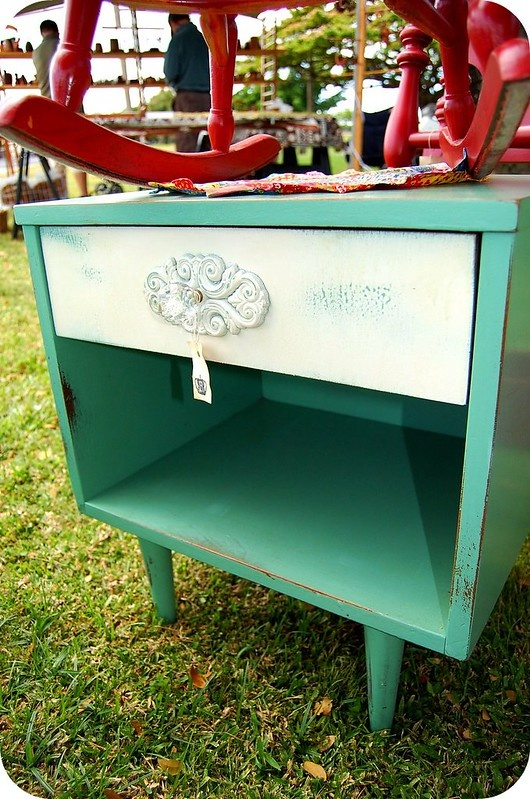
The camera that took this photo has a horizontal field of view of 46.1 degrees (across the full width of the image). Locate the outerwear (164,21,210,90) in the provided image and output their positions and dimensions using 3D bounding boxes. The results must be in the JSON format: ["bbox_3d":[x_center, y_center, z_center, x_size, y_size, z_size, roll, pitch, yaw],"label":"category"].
[{"bbox_3d":[-0.480,-2.033,3.734,0.262,0.380,0.360,-5,33,-6],"label":"outerwear"}]

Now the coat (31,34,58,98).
[{"bbox_3d":[-1.316,-1.978,3.658,0.100,0.082,0.340,-20,-4,-26],"label":"coat"}]
